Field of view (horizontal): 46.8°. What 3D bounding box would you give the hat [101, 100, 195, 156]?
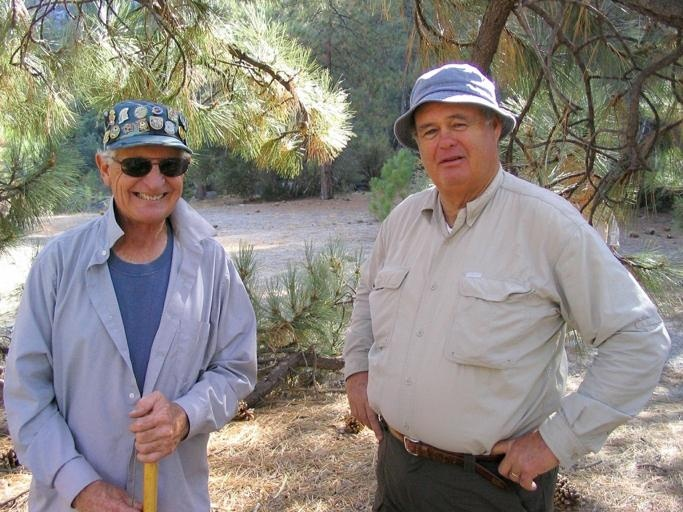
[{"bbox_3d":[-0.870,-0.580,3.565,0.355,0.269,0.491,-3,-1,-7],"label":"hat"}]
